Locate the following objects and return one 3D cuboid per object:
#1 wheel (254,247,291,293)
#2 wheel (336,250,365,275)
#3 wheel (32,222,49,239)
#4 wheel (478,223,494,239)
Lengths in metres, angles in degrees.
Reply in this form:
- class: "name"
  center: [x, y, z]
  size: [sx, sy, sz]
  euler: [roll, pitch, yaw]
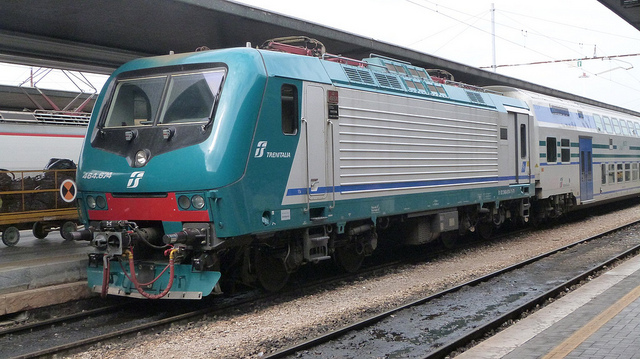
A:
- class: "wheel"
  center: [-1.592, 2.334, 10.733]
  size: [1.126, 1.043, 1.048]
  euler: [-1, -7, 0]
- class: "wheel"
  center: [0.820, 2.367, 11.905]
  size: [0.922, 0.940, 0.313]
  euler: [-2, 2, -37]
- class: "wheel"
  center: [-9.859, 1.797, 14.689]
  size: [0.373, 0.703, 0.406]
  euler: [0, 10, 0]
- class: "wheel"
  center: [6.473, 2.019, 16.388]
  size: [0.715, 0.644, 0.162]
  euler: [6, 4, -42]
